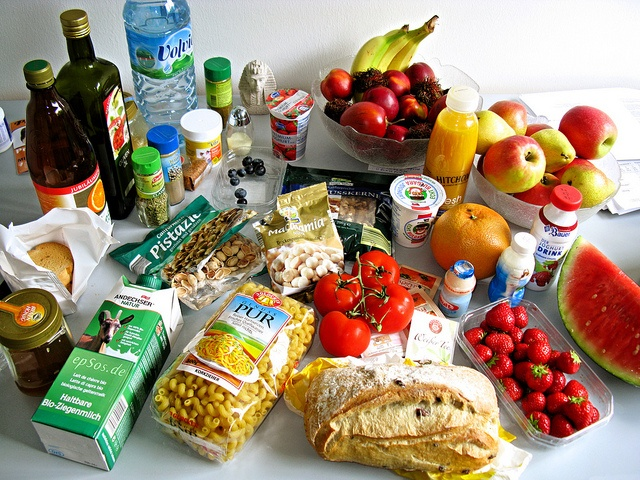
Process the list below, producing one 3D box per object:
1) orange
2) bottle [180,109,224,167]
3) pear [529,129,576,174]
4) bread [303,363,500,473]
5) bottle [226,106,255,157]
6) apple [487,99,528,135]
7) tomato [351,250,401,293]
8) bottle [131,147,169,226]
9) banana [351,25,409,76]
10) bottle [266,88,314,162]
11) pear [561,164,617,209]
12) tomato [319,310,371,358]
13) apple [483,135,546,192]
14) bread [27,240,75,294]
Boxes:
[{"bbox_3d":[0.371,-0.007,1.145,0.165,0.169,0.178,20,43,34],"label":"orange"},{"bbox_3d":[-0.329,-0.298,1.378,0.129,0.149,0.140,0,45,-4],"label":"bottle"},{"bbox_3d":[0.602,-0.234,1.218,0.113,0.090,0.085,41,2,11],"label":"pear"},{"bbox_3d":[0.134,0.324,0.830,0.308,0.122,0.186,1,56,3],"label":"bread"},{"bbox_3d":[-0.246,-0.333,1.407,0.084,0.123,0.101,-4,37,-11],"label":"bottle"},{"bbox_3d":[0.532,-0.347,1.320,0.098,0.105,0.104,-3,76,8],"label":"apple"},{"bbox_3d":[0.131,0.069,1.057,0.083,0.091,0.090,13,-7,3],"label":"tomato"},{"bbox_3d":[-0.421,-0.136,1.145,0.078,0.191,0.073,4,54,-6],"label":"bottle"},{"bbox_3d":[0.190,-0.580,1.399,0.210,0.080,0.057,-48,54,2],"label":"banana"},{"bbox_3d":[-0.095,-0.343,1.376,0.134,0.176,0.128,3,36,-2],"label":"bottle"},{"bbox_3d":[0.659,-0.140,1.172,0.133,0.111,0.104,6,5,-3],"label":"pear"},{"bbox_3d":[0.050,0.200,1.010,0.108,0.099,0.087,21,1,18],"label":"tomato"},{"bbox_3d":[0.481,-0.184,1.139,0.142,0.136,0.083,17,38,17],"label":"apple"},{"bbox_3d":[-0.632,0.066,1.076,0.096,0.028,0.106,30,48,-1],"label":"bread"}]
